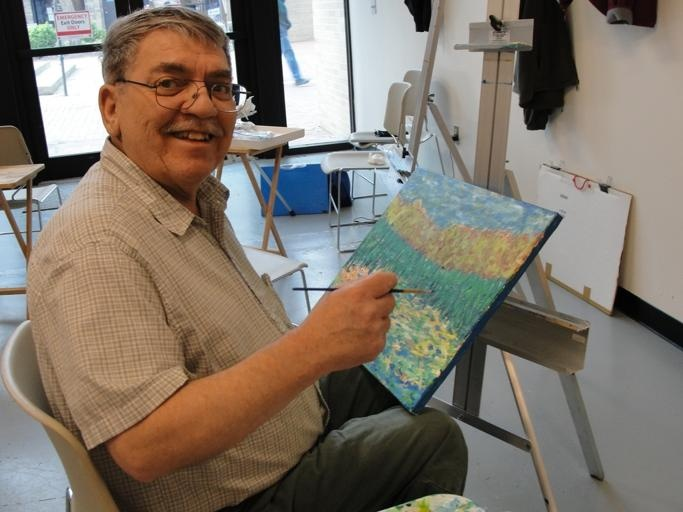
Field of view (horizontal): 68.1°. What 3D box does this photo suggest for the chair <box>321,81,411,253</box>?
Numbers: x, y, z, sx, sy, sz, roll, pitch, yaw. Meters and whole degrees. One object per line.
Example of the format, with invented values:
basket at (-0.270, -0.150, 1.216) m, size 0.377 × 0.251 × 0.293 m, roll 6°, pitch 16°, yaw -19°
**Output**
chair at (0.226, -0.758, 4.307) m, size 0.677 × 1.374 × 0.631 m, roll -2°, pitch 23°, yaw -9°
